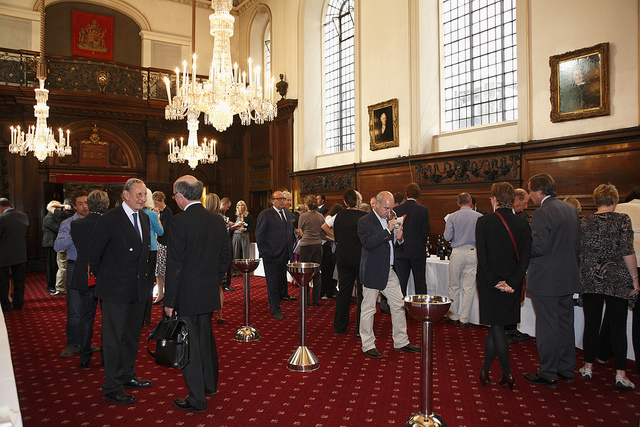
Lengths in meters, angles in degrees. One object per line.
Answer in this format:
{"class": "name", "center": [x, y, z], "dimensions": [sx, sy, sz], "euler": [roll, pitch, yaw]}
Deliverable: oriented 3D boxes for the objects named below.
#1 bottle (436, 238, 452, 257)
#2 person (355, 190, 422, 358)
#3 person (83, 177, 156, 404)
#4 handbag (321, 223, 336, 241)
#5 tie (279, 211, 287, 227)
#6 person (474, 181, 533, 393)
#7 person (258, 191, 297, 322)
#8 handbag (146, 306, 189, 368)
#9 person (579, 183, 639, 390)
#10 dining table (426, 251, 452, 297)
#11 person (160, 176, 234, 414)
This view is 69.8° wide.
{"class": "bottle", "center": [2.255, 0.656, 8.414], "dimensions": [0.341, 0.404, 0.147], "euler": [0, 5, 5]}
{"class": "person", "center": [0.925, 0.843, 6.400], "dimensions": [0.736, 2.312, 0.829], "euler": [-2, 9, -12]}
{"class": "person", "center": [-2.457, 0.884, 5.712], "dimensions": [0.726, 2.616, 1.020], "euler": [-5, 10, -27]}
{"class": "handbag", "center": [0.159, 0.378, 8.850], "dimensions": [0.265, 0.109, 0.285], "euler": [21, 33, -4]}
{"class": "tie", "center": [-0.646, 0.104, 8.048], "dimensions": [0.056, 0.292, 0.075], "euler": [-11, -7, 9]}
{"class": "person", "center": [2.249, 0.894, 5.729], "dimensions": [0.617, 2.499, 0.613], "euler": [4, 10, 28]}
{"class": "person", "center": [-0.766, 0.723, 8.047], "dimensions": [0.566, 2.168, 0.650], "euler": [4, 10, 25]}
{"class": "handbag", "center": [-1.704, 1.417, 5.212], "dimensions": [0.404, 0.612, 0.357], "euler": [-3, 9, -16]}
{"class": "person", "center": [3.642, 0.891, 5.795], "dimensions": [0.711, 2.458, 0.503], "euler": [5, 11, 33]}
{"class": "dining table", "center": [2.071, 1.042, 8.078], "dimensions": [0.511, 0.715, 0.913], "euler": [0, 1, -9]}
{"class": "person", "center": [-1.483, 0.912, 5.464], "dimensions": [0.558, 2.688, 0.739], "euler": [3, 10, 23]}
